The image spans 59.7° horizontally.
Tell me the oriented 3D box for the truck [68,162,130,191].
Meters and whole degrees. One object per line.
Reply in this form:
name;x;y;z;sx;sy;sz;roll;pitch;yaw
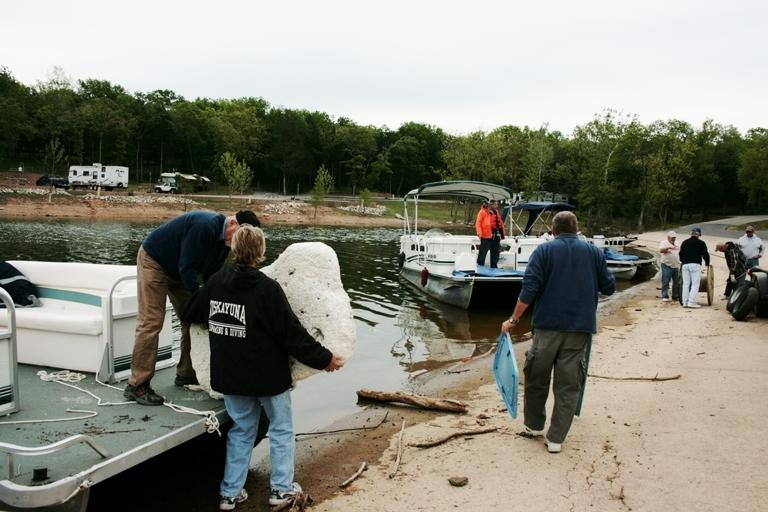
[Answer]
truck;-26.384;-7.322;61.431;3.005;2.217;4.615;1;1;36

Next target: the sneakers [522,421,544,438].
sneakers;2.007;2.385;9.133;0.299;0.138;0.149;7;1;40

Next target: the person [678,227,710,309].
person;7.464;0.251;16.082;0.627;2.025;1.502;0;11;23

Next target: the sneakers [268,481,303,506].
sneakers;-1.188;2.886;8.166;0.185;0.202;0.475;6;12;41

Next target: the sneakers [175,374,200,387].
sneakers;-2.648;1.674;9.006;0.358;0.146;0.144;1;1;-14

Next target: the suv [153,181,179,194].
suv;-21.013;-6.636;64.727;2.113;0.990;1.231;3;-2;-34

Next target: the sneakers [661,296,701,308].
sneakers;7.460;1.179;16.502;0.207;0.264;0.654;0;-6;-30

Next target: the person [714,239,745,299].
person;8.152;0.399;15.645;0.598;1.481;1.602;0;11;26
